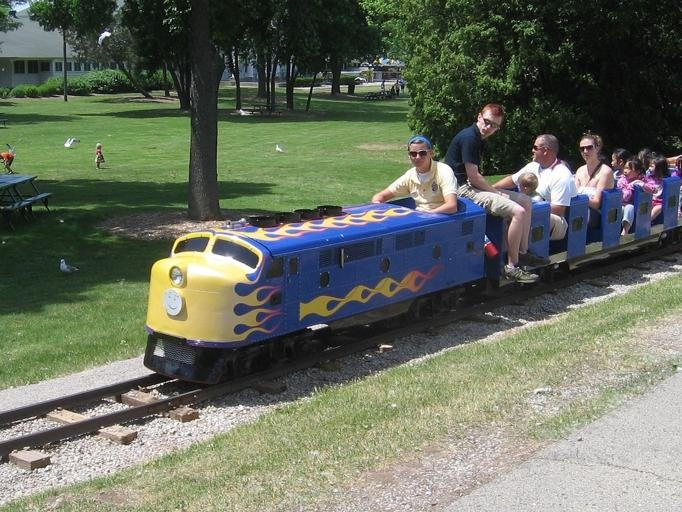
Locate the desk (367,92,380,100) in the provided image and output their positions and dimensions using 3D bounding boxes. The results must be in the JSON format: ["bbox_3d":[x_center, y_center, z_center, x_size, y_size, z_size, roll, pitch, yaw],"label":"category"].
[{"bbox_3d":[3.495,-17.752,91.940,0.804,0.703,3.457,-1,12,20],"label":"desk"}]

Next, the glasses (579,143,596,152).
[{"bbox_3d":[4.460,-1.969,15.022,0.258,0.143,0.126,7,19,44],"label":"glasses"}]

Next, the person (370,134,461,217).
[{"bbox_3d":[1.222,-1.259,12.853,1.194,1.210,0.562,3,18,32],"label":"person"}]

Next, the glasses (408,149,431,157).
[{"bbox_3d":[1.170,-1.559,12.552,0.285,0.105,0.134,-2,14,12],"label":"glasses"}]

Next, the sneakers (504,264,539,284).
[{"bbox_3d":[2.905,0.297,13.379,0.520,0.181,0.289,5,10,40],"label":"sneakers"}]
